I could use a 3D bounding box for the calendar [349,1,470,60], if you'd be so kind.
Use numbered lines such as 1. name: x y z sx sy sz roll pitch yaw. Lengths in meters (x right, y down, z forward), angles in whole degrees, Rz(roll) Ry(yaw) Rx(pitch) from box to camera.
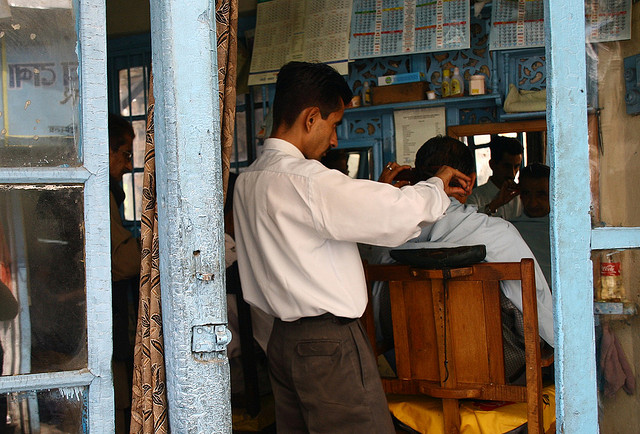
1. calendar: 0.521 -1.146 5.094 0.730 0.296 0.078 -2 -1 24

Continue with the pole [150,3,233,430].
1. pole: -0.448 0.014 2.991 0.185 1.221 0.596 0 8 -8

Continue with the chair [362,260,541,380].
1. chair: 0.634 0.414 4.006 0.598 0.900 0.603 -2 2 21

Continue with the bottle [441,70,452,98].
1. bottle: 0.746 -0.783 5.065 0.050 0.140 0.044 -2 -1 9

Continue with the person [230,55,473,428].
1. person: 0.068 0.113 3.381 0.870 1.145 0.389 -2 -1 3

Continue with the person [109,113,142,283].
1. person: -1.082 -0.121 4.776 0.148 0.609 0.901 -1 -1 -13

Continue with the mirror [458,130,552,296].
1. mirror: 0.959 -0.018 4.369 0.806 1.006 0.044 -2 -3 21

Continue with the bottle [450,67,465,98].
1. bottle: 0.800 -0.788 5.033 0.078 0.154 0.056 -2 -1 8

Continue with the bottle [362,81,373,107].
1. bottle: 0.292 -0.755 5.277 0.060 0.135 0.160 -1 -1 2
